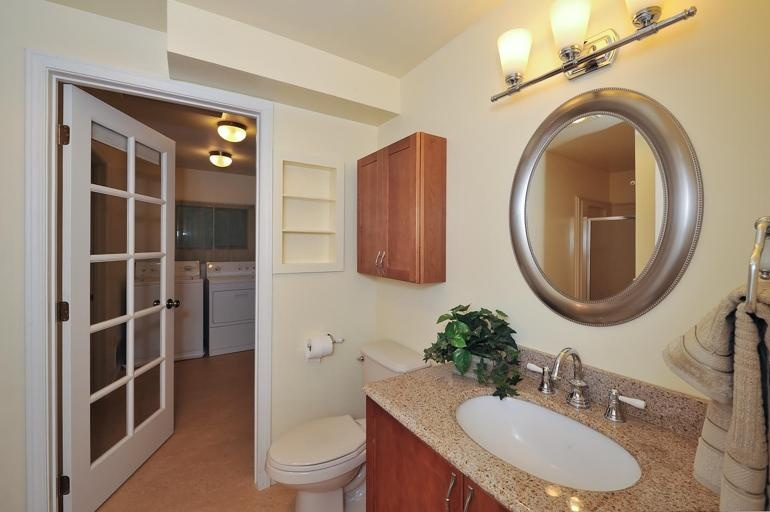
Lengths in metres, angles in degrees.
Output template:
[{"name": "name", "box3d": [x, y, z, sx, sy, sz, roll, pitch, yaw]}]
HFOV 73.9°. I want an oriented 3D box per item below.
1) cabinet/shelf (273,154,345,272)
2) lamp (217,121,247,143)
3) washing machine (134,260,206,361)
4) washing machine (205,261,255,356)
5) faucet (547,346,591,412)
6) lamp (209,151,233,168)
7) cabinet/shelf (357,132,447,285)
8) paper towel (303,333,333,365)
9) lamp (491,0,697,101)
[{"name": "cabinet/shelf", "box3d": [-0.557, -0.271, 3.599, 0.493, 0.788, 0.200, 0, 4, -23]}, {"name": "lamp", "box3d": [-1.322, -1.064, 4.390, 0.186, 0.117, 0.185, 6, -6, -35]}, {"name": "washing machine", "box3d": [-2.366, 0.613, 5.688, 0.740, 1.183, 0.694, -2, -5, -17]}, {"name": "washing machine", "box3d": [-1.804, 0.578, 5.933, 0.603, 0.993, 0.574, -2, 5, -31]}, {"name": "faucet", "box3d": [0.918, 0.600, 2.550, 0.219, 0.305, 0.140, -3, 7, -22]}, {"name": "lamp", "box3d": [-1.659, -0.985, 5.145, 0.197, 0.146, 0.241, -1, 5, -24]}, {"name": "cabinet/shelf", "box3d": [0.118, -0.288, 3.238, 0.365, 1.126, 0.980, 1, -4, -26]}, {"name": "paper towel", "box3d": [-0.449, 0.614, 3.516, 0.225, 0.215, 0.154, 3, -2, -36]}, {"name": "lamp", "box3d": [1.001, -1.000, 2.563, 0.941, 0.340, 0.194, 4, 5, 35]}]
